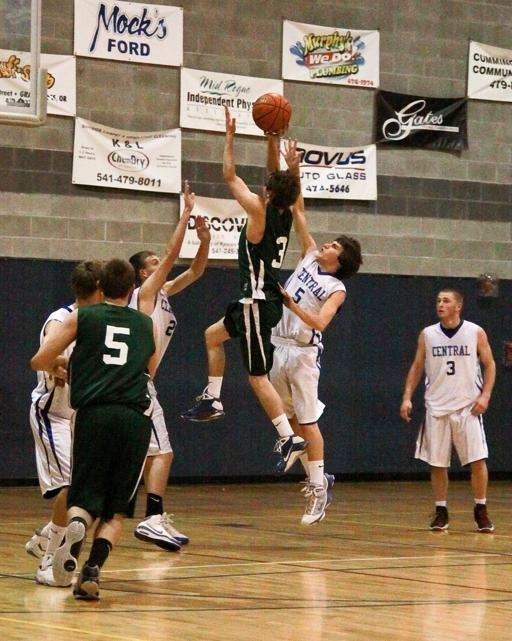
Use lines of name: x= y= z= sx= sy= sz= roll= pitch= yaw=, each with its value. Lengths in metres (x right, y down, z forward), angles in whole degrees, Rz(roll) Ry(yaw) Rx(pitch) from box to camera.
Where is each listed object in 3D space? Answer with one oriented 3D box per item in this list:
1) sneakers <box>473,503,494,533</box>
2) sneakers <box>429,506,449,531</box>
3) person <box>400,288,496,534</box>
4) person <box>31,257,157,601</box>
sneakers: x=1.452 y=1.266 z=6.633 sx=0.120 sy=0.186 sz=0.263 roll=1 pitch=1 yaw=13
sneakers: x=1.185 y=1.303 z=6.742 sx=0.091 sy=0.138 sz=0.282 roll=-2 pitch=-15 yaw=16
person: x=1.260 y=0.577 z=6.831 sx=0.669 sy=1.561 sz=0.572 roll=1 pitch=1 yaw=23
person: x=-0.613 y=0.493 z=3.935 sx=0.450 sy=1.109 sz=0.292 roll=1 pitch=1 yaw=-7
